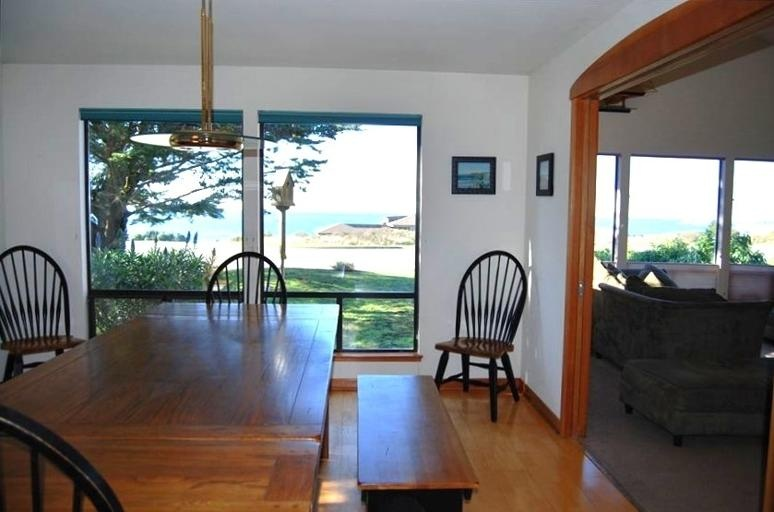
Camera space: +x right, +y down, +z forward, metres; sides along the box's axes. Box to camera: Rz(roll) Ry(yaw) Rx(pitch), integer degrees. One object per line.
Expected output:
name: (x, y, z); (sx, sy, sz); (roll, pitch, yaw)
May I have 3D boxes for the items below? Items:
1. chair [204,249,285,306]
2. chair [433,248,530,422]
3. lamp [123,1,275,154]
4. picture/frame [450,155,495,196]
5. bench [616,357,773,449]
chair: (-1.227, 0.217, 4.844); (0.621, 0.801, 0.565); (1, 1, -8)
chair: (0.821, 0.637, 4.821); (0.721, 1.279, 0.939); (1, 13, 13)
lamp: (-1.069, -1.113, 3.357); (0.679, 0.935, 0.850); (0, 13, 7)
picture/frame: (0.771, -0.713, 5.034); (0.412, 0.332, 0.039); (-1, 4, -8)
bench: (2.210, 0.880, 3.923); (0.629, 0.396, 0.834); (1, -6, -4)
